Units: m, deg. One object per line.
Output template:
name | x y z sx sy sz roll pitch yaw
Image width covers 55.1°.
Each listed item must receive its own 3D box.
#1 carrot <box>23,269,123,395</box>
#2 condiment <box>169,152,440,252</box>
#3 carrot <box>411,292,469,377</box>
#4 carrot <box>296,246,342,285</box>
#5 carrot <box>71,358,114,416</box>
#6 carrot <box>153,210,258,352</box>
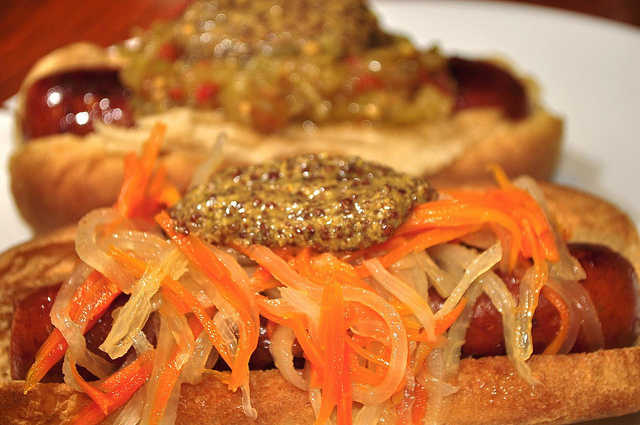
carrot | -0.683 0.301 1.672 0.105 0.107 0.466 32 35 -8
condiment | -0.039 -0.035 1.749 0.517 0.145 0.354 1 19 8
carrot | 0.323 0.328 1.674 0.042 0.037 0.243 33 87 -28
carrot | -0.005 0.127 1.732 0.126 0.050 0.165 5 23 5
carrot | -0.620 0.469 1.678 0.049 0.035 0.170 -21 67 -43
carrot | -0.308 0.199 1.682 0.433 0.063 0.077 53 16 13
